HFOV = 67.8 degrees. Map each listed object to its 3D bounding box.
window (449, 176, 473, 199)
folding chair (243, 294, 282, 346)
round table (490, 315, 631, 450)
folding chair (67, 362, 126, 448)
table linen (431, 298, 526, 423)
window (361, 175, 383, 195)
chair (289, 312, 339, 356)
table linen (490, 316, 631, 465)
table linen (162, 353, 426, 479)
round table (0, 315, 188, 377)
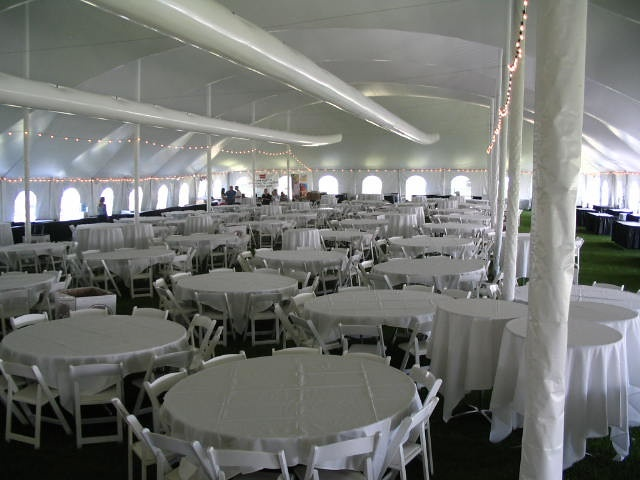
[{"bbox_3d":[9.304,-3.555,31.372,1.682,2.307,0.113,1,2,1],"label":"window"},{"bbox_3d":[-0.746,1.027,6.298,0.463,0.661,0.498,-3,-3,28],"label":"folding chair"},{"bbox_3d":[2.079,1.192,3.912,0.791,0.824,0.751,-6,3,0],"label":"round table"},{"bbox_3d":[-1.883,1.340,4.052,0.420,0.706,0.495,-1,2,-38],"label":"folding chair"},{"bbox_3d":[1.564,1.209,4.687,0.961,1.132,0.964,2,7,-2],"label":"table linen"},{"bbox_3d":[3.671,-3.914,33.284,1.472,2.036,0.180,2,3,11],"label":"window"},{"bbox_3d":[-0.049,0.998,5.046,0.542,0.450,1.211,-1,3,2],"label":"chair"},{"bbox_3d":[2.049,1.156,3.832,0.604,0.694,0.630,-5,-4,41],"label":"table linen"},{"bbox_3d":[0.004,1.314,3.432,1.609,0.446,1.747,-8,-2,9],"label":"table linen"},{"bbox_3d":[-2.104,0.914,4.468,0.768,0.216,0.830,1,7,0],"label":"round table"}]
